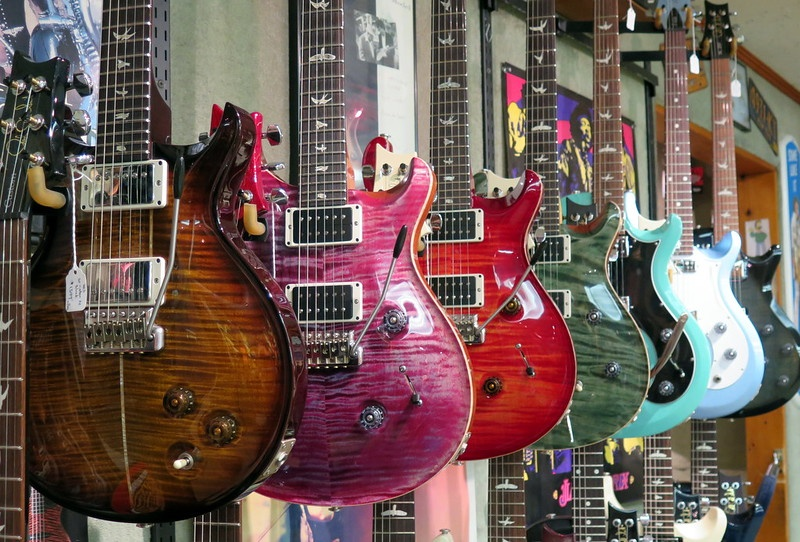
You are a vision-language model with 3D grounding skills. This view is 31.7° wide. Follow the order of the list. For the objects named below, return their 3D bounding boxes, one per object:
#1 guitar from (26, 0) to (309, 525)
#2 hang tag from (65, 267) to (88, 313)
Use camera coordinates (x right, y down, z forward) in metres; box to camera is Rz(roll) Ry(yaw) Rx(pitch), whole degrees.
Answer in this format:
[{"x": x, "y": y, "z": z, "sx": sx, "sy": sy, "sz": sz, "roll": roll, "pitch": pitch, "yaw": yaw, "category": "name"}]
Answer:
[{"x": -0.816, "y": -0.047, "z": 4.918, "sx": 0.961, "sy": 1.733, "sz": 0.621, "roll": -1, "pitch": 13, "yaw": -2, "category": "guitar"}, {"x": -1.134, "y": 0.065, "z": 4.897, "sx": 0.072, "sy": 0.173, "sz": 0.008, "roll": -2, "pitch": 13, "yaw": -25, "category": "hang tag"}]
